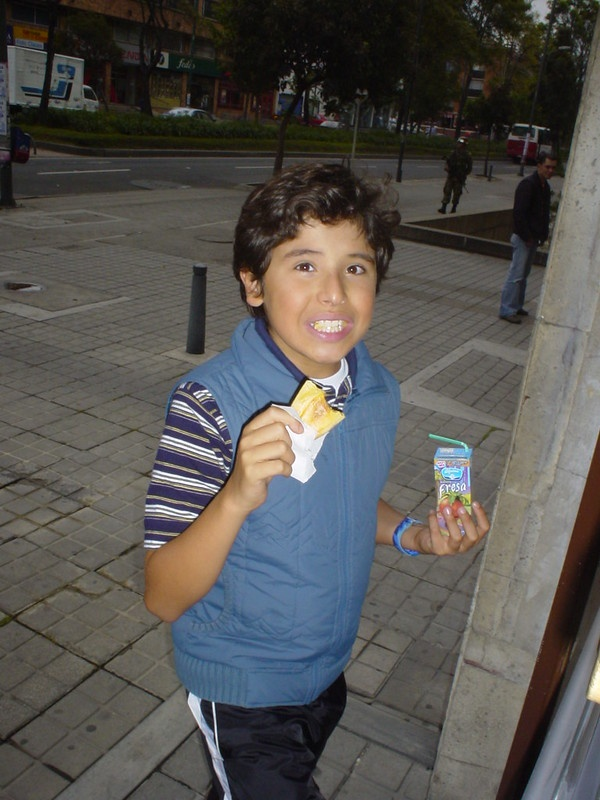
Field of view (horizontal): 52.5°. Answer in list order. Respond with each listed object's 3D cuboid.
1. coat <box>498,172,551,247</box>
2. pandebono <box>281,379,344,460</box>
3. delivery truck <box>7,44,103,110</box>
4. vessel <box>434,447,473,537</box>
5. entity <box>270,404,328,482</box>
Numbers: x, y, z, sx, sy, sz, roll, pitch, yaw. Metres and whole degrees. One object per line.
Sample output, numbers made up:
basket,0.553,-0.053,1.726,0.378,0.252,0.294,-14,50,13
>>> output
coat,3.452,-2.865,9.047,0.472,1.097,0.713,17,18,33
pandebono,0.027,0.039,1.101,0.044,0.119,0.116,9,-27,39
delivery truck,-14.024,-18.152,34.998,2.225,3.670,6.082,10,15,11
vessel,0.398,0.254,1.554,0.095,0.194,0.077,-3,-29,21
entity,-0.017,0.054,1.097,0.067,0.159,0.201,-17,-1,-8
